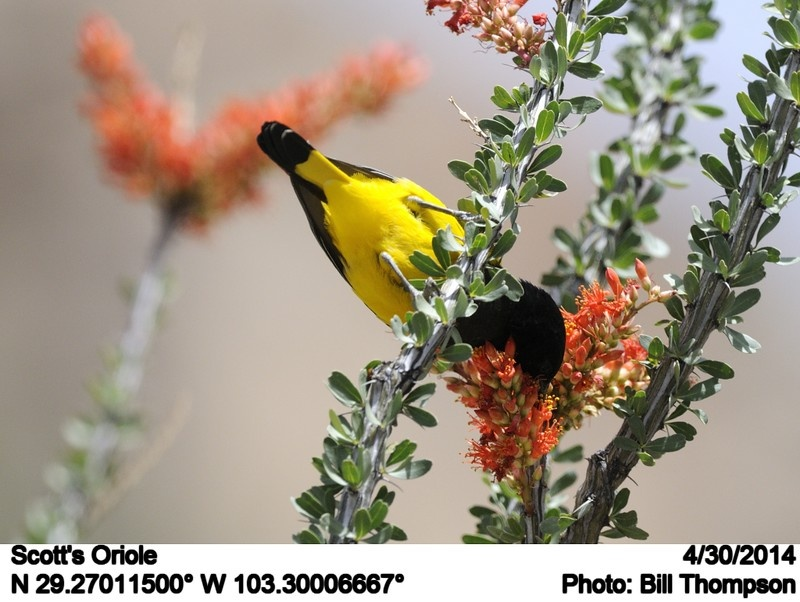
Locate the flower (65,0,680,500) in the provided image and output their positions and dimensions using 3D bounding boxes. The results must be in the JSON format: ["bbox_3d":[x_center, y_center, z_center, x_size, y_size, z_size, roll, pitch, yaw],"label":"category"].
[{"bbox_3d":[-0.155,-0.319,2.717,0.887,1.634,0.458,36,-28,23],"label":"flower"}]

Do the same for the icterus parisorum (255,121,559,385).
[{"bbox_3d":[0.064,-0.096,2.186,0.543,0.177,0.230,41,-21,12],"label":"icterus parisorum"}]
